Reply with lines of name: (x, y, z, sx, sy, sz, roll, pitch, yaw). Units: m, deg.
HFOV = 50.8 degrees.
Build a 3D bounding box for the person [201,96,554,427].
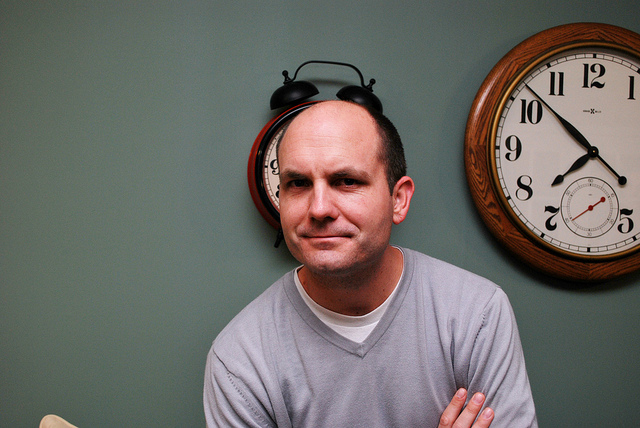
person: (0.196, 0.188, 2.902, 1.340, 1.590, 0.833, -3, -2, 6)
